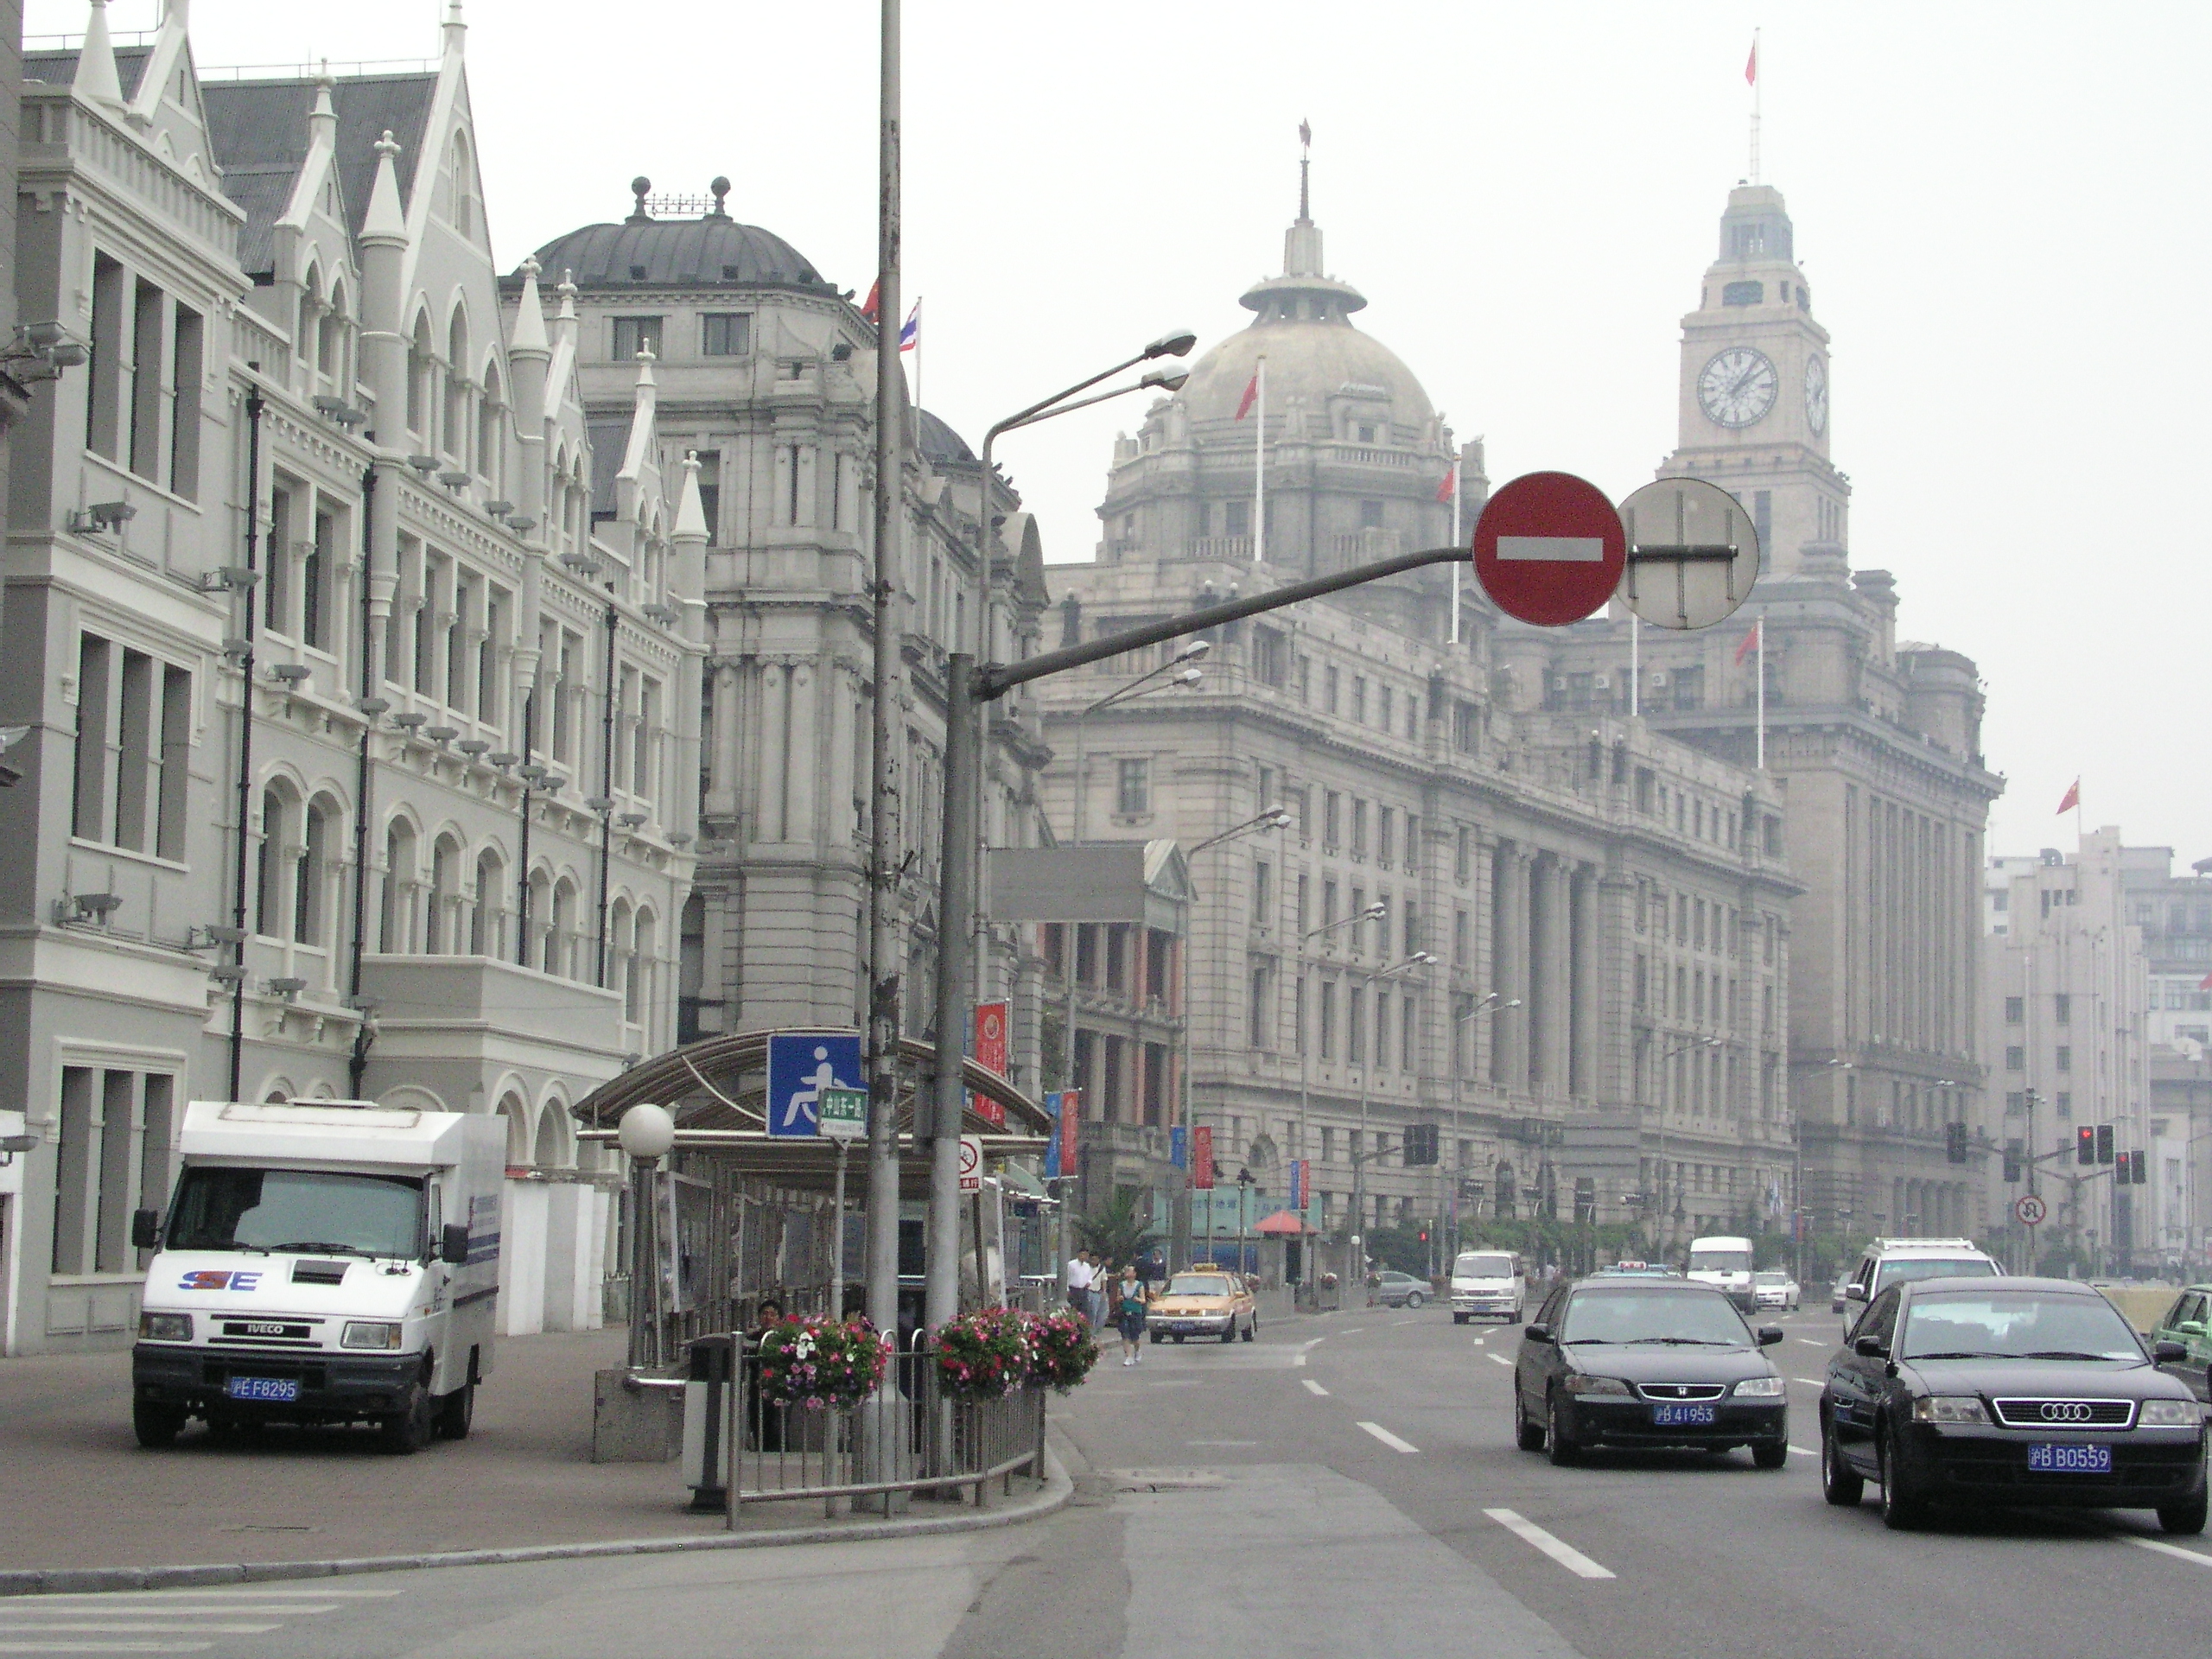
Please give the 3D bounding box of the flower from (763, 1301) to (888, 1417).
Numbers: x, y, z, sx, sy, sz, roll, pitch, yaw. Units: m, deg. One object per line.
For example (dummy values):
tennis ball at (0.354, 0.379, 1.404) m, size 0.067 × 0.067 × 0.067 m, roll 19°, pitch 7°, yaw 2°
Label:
flower at (-2.546, 4.651, 34.317) m, size 0.819 × 0.638 × 0.822 m, roll -3°, pitch 4°, yaw -27°

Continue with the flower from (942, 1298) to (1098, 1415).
flower at (-0.830, 4.850, 35.968) m, size 0.801 × 0.631 × 1.090 m, roll -2°, pitch 5°, yaw 12°

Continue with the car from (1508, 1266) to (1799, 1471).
car at (5.704, 5.712, 40.413) m, size 2.266 × 1.941 × 3.439 m, roll 7°, pitch 1°, yaw -8°
